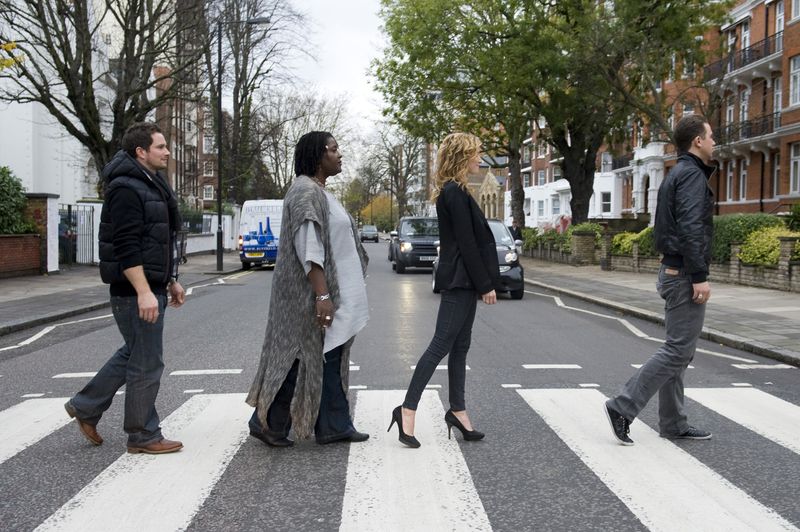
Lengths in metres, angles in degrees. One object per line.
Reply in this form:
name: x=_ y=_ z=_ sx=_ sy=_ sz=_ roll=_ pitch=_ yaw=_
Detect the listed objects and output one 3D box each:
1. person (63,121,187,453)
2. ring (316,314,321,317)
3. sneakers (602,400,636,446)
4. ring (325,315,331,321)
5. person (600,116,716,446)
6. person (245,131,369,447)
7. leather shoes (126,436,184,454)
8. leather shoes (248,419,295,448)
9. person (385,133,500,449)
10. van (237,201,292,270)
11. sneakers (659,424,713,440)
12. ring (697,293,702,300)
person: x=-2.217 y=0.158 z=5.310 sx=0.820 sy=2.771 sz=0.515 roll=1 pitch=4 yaw=13
ring: x=-0.657 y=0.407 z=5.091 sx=0.019 sy=0.019 sz=0.019 roll=2 pitch=2 yaw=0
sneakers: x=1.925 y=1.355 z=5.568 sx=0.184 sy=0.411 sz=0.137 roll=-31 pitch=-16 yaw=19
ring: x=-0.576 y=0.422 z=5.097 sx=0.048 sy=0.041 sz=0.012 roll=-3 pitch=5 yaw=-39
person: x=2.377 y=0.091 z=5.585 sx=1.001 sy=2.890 sz=0.558 roll=0 pitch=4 yaw=-3
person: x=-0.764 y=0.203 z=5.288 sx=0.994 sy=2.680 sz=0.480 roll=0 pitch=4 yaw=-3
leather shoes: x=-2.026 y=1.500 z=5.207 sx=0.391 sy=0.183 sz=0.166 roll=-2 pitch=2 yaw=-4
leather shoes: x=-1.100 y=1.434 z=5.458 sx=0.446 sy=0.201 sz=0.162 roll=8 pitch=18 yaw=13
person: x=0.451 y=0.176 z=5.531 sx=0.802 sy=2.729 sz=0.868 roll=2 pitch=4 yaw=28
van: x=-6.490 y=-1.341 z=28.227 sx=2.801 sy=3.302 sz=5.430 roll=0 pitch=3 yaw=0
sneakers: x=2.549 y=1.483 z=5.649 sx=0.436 sy=0.185 sz=0.157 roll=-3 pitch=4 yaw=-4
ring: x=2.568 y=0.265 z=5.379 sx=0.052 sy=0.043 sz=0.024 roll=0 pitch=4 yaw=0
